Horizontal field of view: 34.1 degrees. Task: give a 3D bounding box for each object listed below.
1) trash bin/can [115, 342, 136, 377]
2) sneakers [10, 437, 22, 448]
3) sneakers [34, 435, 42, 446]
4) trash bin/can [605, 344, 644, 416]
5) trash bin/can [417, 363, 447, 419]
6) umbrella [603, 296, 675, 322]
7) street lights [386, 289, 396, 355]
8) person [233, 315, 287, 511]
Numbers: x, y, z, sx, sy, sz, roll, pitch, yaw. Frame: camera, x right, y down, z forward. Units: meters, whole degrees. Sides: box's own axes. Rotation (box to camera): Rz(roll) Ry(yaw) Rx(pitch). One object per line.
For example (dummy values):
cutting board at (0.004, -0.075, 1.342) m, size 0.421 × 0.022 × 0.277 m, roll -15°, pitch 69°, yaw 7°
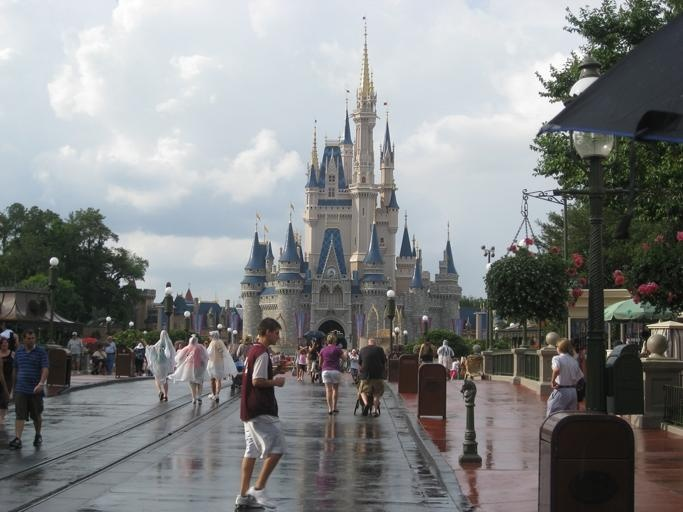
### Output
trash bin/can at (-8.203, 4.010, 41.891) m, size 0.708 × 1.178 × 0.747 m, roll 5°, pitch -11°, yaw -22°
sneakers at (-5.988, 3.435, 20.381) m, size 0.215 × 0.183 × 0.306 m, roll 2°, pitch -10°, yaw -17°
sneakers at (-5.674, 3.441, 20.712) m, size 0.145 × 0.210 × 0.352 m, roll 2°, pitch -10°, yaw -16°
trash bin/can at (4.477, 1.938, 17.826) m, size 0.547 × 1.092 × 1.062 m, roll -3°, pitch -1°, yaw 5°
trash bin/can at (2.090, 3.061, 25.645) m, size 0.812 × 1.239 × 0.792 m, roll 2°, pitch 5°, yaw 20°
umbrella at (7.801, 1.395, 28.765) m, size 1.012 × 0.390 × 1.066 m, roll 0°, pitch -12°, yaw 2°
street lights at (1.875, 2.525, 41.201) m, size 0.368 × 2.657 × 0.375 m, roll -3°, pitch 11°, yaw -8°
person at (-1.254, 2.334, 16.820) m, size 0.823 × 2.845 × 0.708 m, roll 5°, pitch -10°, yaw -32°
